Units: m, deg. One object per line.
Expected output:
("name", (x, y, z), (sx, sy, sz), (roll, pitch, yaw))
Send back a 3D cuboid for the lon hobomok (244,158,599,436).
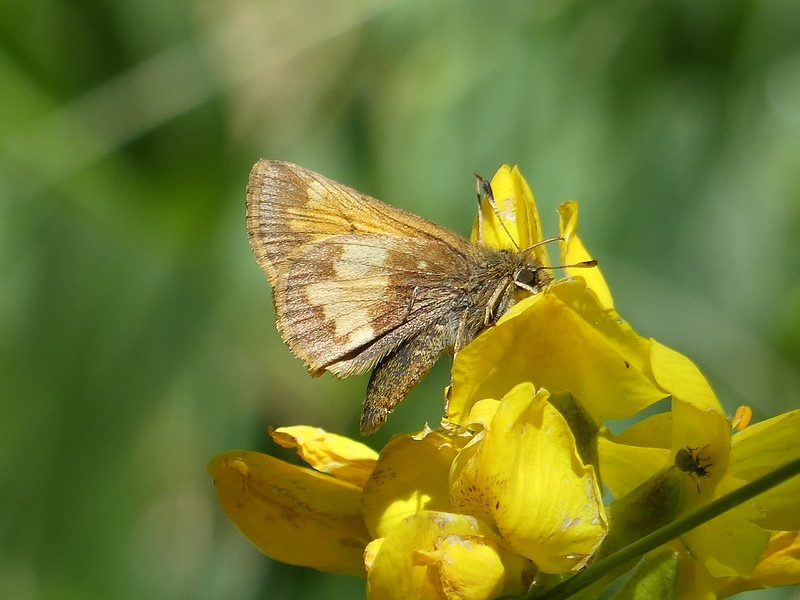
("lon hobomok", (0.069, -0.011, 1.593), (0.580, 0.477, 0.284), (-9, -14, 13))
